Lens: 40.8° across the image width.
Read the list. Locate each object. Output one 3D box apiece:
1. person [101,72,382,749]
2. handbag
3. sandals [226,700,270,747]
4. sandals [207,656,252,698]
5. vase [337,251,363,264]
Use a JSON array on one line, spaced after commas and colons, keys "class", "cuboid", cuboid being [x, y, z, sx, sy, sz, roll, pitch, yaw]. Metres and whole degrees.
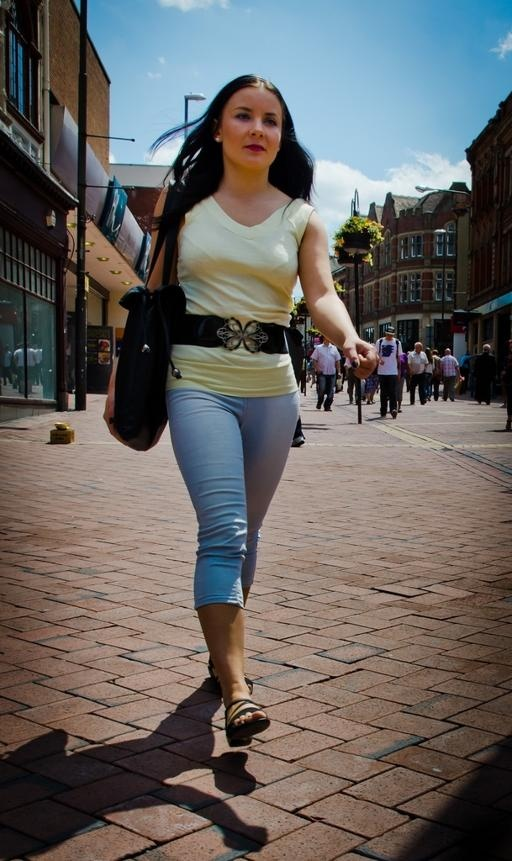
[{"class": "person", "cuboid": [-0.019, -0.121, 1.929, 0.579, 1.774, 0.808, 2, 0, -10]}, {"class": "handbag", "cuboid": [-0.318, -0.347, 1.997, 0.219, 0.697, 0.301, 2, 0, -8]}, {"class": "sandals", "cuboid": [-0.021, 0.655, 1.553, 0.058, 0.059, 0.151, -5, -29, -17]}, {"class": "sandals", "cuboid": [-0.083, 0.767, 2.188, 0.095, 0.108, 0.260, 0, -10, -8]}, {"class": "vase", "cuboid": [2.192, -4.204, 16.500, 0.510, 0.360, 0.515, 1, 2, 29]}]
